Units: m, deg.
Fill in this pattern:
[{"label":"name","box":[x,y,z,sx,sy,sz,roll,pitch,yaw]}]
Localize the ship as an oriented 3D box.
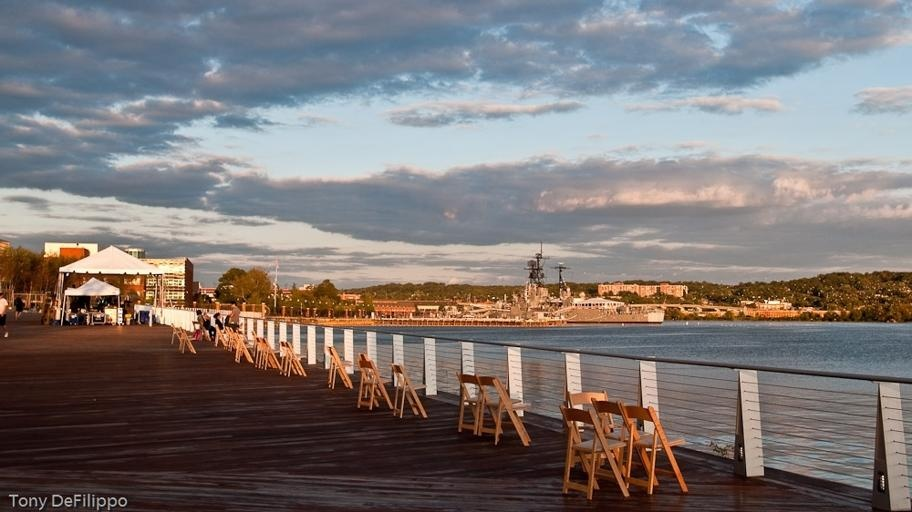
[{"label":"ship","box":[28.721,10.406,219.245,63.901,16.169,16.464,1,10,7]}]
